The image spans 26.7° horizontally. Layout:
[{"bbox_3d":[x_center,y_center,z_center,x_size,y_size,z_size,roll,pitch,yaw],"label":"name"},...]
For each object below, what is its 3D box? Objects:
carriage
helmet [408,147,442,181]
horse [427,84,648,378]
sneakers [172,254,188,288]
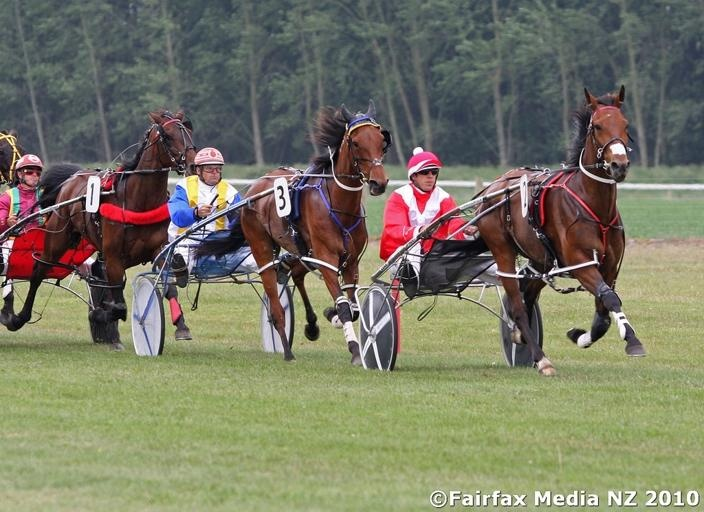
[{"bbox_3d":[0.599,-0.206,19.411,7.447,3.971,1.960,-3,-2,29],"label":"carriage"},{"bbox_3d":[0.828,-1.097,17.851,0.345,0.273,0.422,-3,-7,-26],"label":"helmet"},{"bbox_3d":[2.412,-0.239,16.793,1.888,3.176,0.585,2,7,32],"label":"horse"},{"bbox_3d":[-2.142,0.218,18.571,0.160,0.406,0.182,-3,-6,-6],"label":"sneakers"}]
